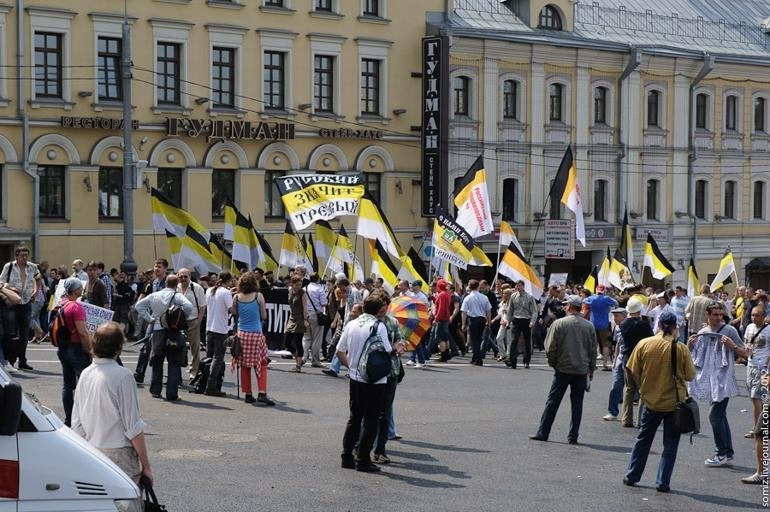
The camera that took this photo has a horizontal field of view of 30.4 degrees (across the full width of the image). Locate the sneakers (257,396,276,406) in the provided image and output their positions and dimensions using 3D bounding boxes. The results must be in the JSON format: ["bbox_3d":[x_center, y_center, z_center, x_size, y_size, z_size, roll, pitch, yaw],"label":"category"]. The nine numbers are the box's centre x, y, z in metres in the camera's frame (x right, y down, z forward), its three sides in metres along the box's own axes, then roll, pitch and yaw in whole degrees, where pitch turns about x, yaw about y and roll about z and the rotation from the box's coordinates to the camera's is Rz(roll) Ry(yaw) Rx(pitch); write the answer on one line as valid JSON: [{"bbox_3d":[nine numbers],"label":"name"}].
[{"bbox_3d":[-3.084,3.706,36.442,0.542,0.215,0.176,12,5,-13],"label":"sneakers"}]

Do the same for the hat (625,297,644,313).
[{"bbox_3d":[6.523,1.223,36.587,0.416,0.222,0.547,-7,31,15],"label":"hat"}]

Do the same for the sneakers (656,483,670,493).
[{"bbox_3d":[6.438,5.313,32.439,0.348,0.137,0.123,-1,0,-28],"label":"sneakers"}]

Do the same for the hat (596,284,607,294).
[{"bbox_3d":[6.690,1.031,43.532,0.253,0.341,0.351,18,42,19],"label":"hat"}]

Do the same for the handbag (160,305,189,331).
[{"bbox_3d":[-5.439,1.573,36.270,0.508,0.683,0.721,6,3,42],"label":"handbag"}]

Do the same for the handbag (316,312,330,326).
[{"bbox_3d":[-1.822,1.802,41.121,0.484,0.265,0.492,6,19,-30],"label":"handbag"}]

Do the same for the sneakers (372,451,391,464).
[{"bbox_3d":[-0.073,4.733,33.176,0.414,0.170,0.195,-5,-7,38],"label":"sneakers"}]

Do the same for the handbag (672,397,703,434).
[{"bbox_3d":[7.008,3.635,32.393,0.613,0.842,0.347,2,1,-37],"label":"handbag"}]

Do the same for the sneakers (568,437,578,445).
[{"bbox_3d":[4.641,4.516,34.676,0.268,0.174,0.121,-2,3,5],"label":"sneakers"}]

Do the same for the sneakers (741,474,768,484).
[{"bbox_3d":[8.676,5.183,33.002,0.615,0.249,0.213,1,-6,16],"label":"sneakers"}]

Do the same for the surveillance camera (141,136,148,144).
[{"bbox_3d":[-9.061,-4.394,52.984,0.136,0.293,0.325,2,1,12],"label":"surveillance camera"}]

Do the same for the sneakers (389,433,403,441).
[{"bbox_3d":[0.267,4.362,34.465,0.357,0.237,0.116,-10,15,-26],"label":"sneakers"}]

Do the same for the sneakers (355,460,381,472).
[{"bbox_3d":[-0.407,4.857,32.833,0.682,0.269,0.239,2,-1,-13],"label":"sneakers"}]

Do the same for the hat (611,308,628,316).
[{"bbox_3d":[6.337,1.458,37.876,0.370,0.114,0.251,10,-2,-12],"label":"hat"}]

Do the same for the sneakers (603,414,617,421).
[{"bbox_3d":[5.929,4.158,36.716,0.408,0.161,0.143,6,-6,-13],"label":"sneakers"}]

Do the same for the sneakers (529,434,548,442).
[{"bbox_3d":[3.812,4.444,34.725,0.437,0.171,0.168,7,5,22],"label":"sneakers"}]
